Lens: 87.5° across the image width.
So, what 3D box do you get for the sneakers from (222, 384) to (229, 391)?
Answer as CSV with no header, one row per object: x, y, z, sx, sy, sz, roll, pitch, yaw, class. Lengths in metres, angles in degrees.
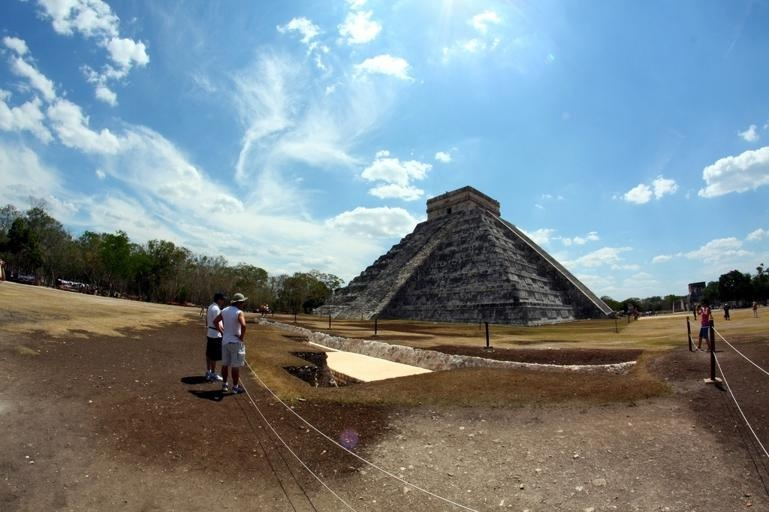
-4.549,3.741,11.451,0.114,0.135,0.336,8,-14,-26,sneakers

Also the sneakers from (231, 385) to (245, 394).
-4.069,3.739,11.285,0.425,0.265,0.137,0,-3,-11,sneakers
